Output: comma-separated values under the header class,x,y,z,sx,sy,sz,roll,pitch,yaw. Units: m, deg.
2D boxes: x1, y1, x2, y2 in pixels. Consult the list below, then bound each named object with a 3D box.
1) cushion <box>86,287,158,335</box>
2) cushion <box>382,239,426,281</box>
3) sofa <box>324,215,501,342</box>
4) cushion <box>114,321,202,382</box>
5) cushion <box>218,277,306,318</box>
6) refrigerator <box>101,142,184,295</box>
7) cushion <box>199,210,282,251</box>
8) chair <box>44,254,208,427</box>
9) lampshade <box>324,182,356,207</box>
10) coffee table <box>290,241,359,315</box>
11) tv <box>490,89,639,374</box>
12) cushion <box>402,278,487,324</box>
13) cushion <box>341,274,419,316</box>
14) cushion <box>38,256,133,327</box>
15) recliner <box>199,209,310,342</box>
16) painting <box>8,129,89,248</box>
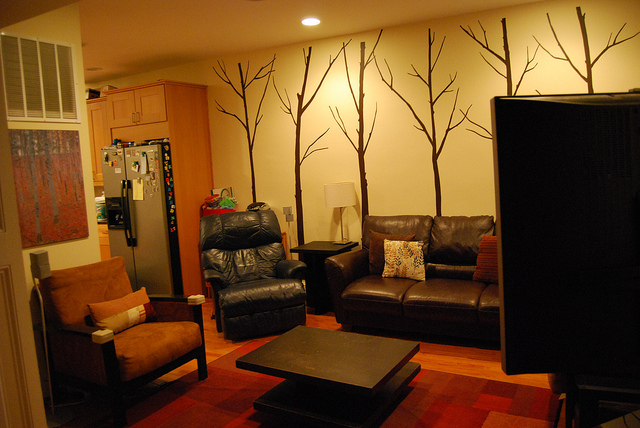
class,x,y,z,sx,sy,sz,roll,pitch,yaw
cushion,-1.518,0.766,3.717,0.227,0.230,0.561,19,14,22
cushion,0.809,0.456,4.575,0.384,0.344,0.141,2,-5,18
sofa,1.001,0.541,4.491,1.716,0.938,0.970,0,12,35
cushion,-1.236,0.993,3.518,0.315,0.230,0.686,0,8,34
cushion,-0.561,0.796,4.571,0.810,0.245,0.311,-7,7,-14
refrigerator,-2.169,0.026,5.709,0.738,1.962,0.938,-5,8,-43
cushion,-0.856,0.169,5.027,0.759,0.414,0.572,-2,7,-26
chair,-1.459,0.908,3.898,1.140,1.325,1.019,-1,2,24
lampshade,0.200,-0.250,5.148,0.273,0.424,0.277,-5,12,-9
coffee table,0.108,0.671,5.136,0.633,0.755,0.623,-2,3,26
tv,0.767,0.058,1.457,0.455,0.839,0.188,-4,8,11
cushion,1.243,0.750,4.240,0.755,0.243,0.730,-7,10,26
cushion,0.549,0.723,4.420,0.421,0.163,0.393,2,8,31
cushion,-1.775,0.600,3.692,0.289,0.438,0.633,-1,8,29
recliner,-0.702,0.546,4.933,1.117,1.183,1.175,-5,4,-17
painting,-2.123,-0.221,3.752,0.078,0.895,0.567,0,9,34
